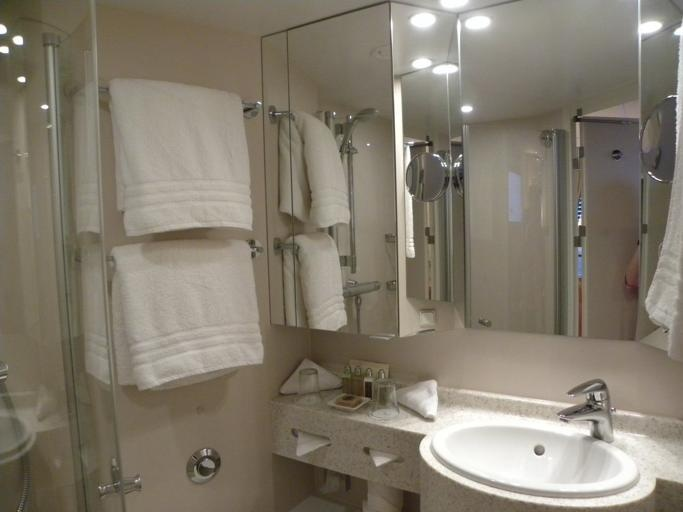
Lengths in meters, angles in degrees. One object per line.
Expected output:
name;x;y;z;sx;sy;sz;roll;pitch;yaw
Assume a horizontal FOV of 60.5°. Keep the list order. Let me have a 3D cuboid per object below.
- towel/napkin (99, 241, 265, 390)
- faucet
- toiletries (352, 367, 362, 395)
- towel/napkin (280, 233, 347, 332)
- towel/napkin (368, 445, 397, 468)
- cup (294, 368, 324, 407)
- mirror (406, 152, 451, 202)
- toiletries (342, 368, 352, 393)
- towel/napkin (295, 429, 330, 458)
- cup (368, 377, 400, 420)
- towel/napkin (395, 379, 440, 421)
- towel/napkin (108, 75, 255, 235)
towel/napkin;-0.547;0.202;2.114;0.514;0.538;0.152;-8;3;-39
faucet;0.836;0.540;2.006;0.250;0.224;0.077;-5;10;-27
toiletries;0.069;0.534;2.515;0.046;0.100;0.086;-2;11;2
towel/napkin;-0.107;0.106;2.377;0.271;0.399;0.108;-4;4;-41
towel/napkin;0.158;0.770;2.248;0.115;0.074;0.105;-2;11;2
cup;-0.141;0.589;2.580;0.108;0.163;0.128;-11;-34;14
mirror;0.322;-0.314;2.276;0.151;0.194;0.063;0;25;9
toiletries;0.024;0.530;2.544;0.041;0.097;0.091;-3;11;-2
towel/napkin;-0.128;0.765;2.397;0.106;0.032;0.112;0;27;-4
cup;0.163;0.563;2.365;0.136;0.145;0.124;2;7;0
towel/napkin;0.304;0.575;2.339;0.158;0.085;0.214;-2;11;5
towel/napkin;-0.574;-0.365;2.083;0.131;0.559;0.511;-5;-1;42
